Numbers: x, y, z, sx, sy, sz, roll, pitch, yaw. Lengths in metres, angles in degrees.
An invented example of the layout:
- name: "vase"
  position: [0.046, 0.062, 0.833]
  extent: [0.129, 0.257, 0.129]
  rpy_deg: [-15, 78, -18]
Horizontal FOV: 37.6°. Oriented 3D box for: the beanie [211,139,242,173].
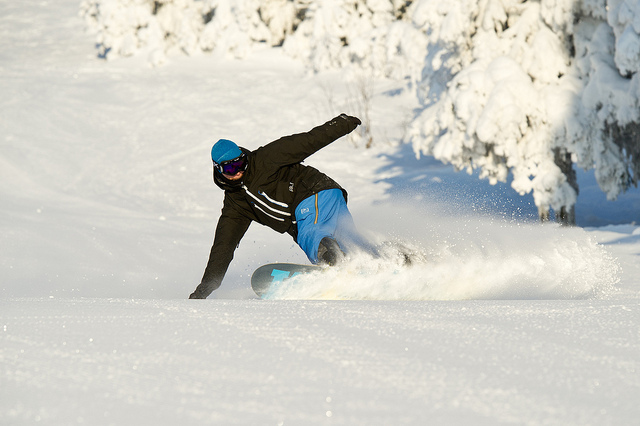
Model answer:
- name: "beanie"
  position: [-1.575, -0.932, 14.882]
  extent: [0.416, 0.360, 0.338]
  rpy_deg: [-14, 26, 45]
